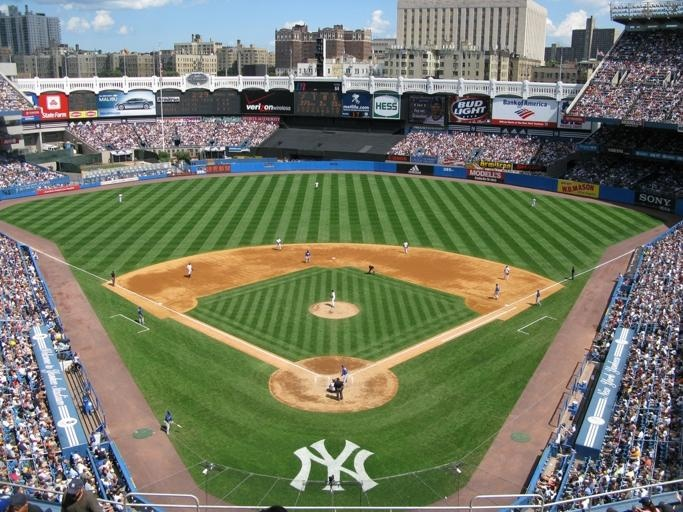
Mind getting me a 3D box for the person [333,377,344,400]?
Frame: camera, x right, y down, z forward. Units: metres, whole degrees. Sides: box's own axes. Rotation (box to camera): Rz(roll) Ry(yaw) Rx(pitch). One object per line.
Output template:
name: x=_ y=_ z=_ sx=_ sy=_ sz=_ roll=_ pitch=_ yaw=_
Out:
person: x=-0.181 y=7.630 z=34.687 sx=0.584 sy=1.266 sz=0.858 roll=0 pitch=14 yaw=-3
